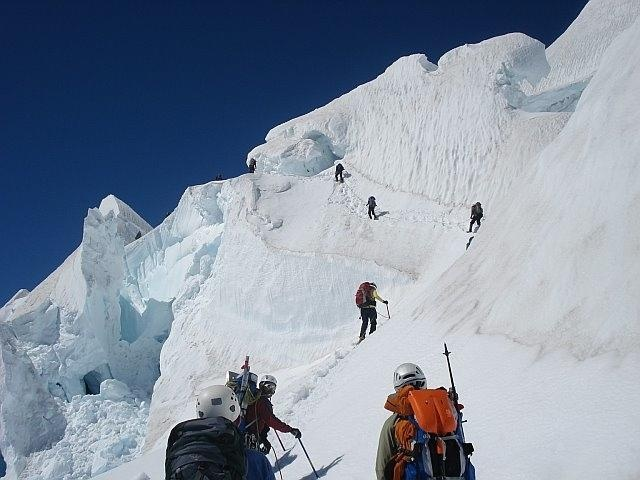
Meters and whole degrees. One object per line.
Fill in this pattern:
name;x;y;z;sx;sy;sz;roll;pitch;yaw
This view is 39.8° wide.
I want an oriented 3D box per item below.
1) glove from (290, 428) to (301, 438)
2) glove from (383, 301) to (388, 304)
glove;-0.751;5.503;25.805;0.138;0.251;0.335;-20;57;-24
glove;2.234;2.131;30.922;0.190;0.204;0.058;0;63;6
